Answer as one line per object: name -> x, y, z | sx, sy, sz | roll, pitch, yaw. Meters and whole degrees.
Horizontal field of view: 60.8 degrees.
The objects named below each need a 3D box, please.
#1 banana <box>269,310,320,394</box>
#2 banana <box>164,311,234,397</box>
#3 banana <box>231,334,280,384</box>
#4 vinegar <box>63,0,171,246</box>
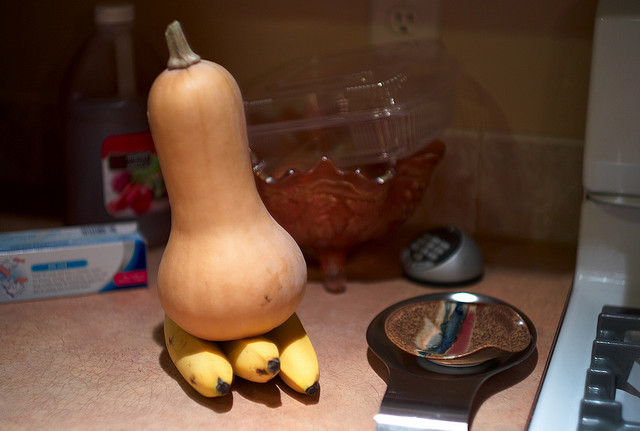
banana -> -0.031, 0.153, 0.660 | 0.033, 0.039, 0.108 | -13, 44, -5
banana -> -0.147, 0.153, 0.663 | 0.045, 0.049, 0.141 | -16, 37, -21
banana -> -0.072, 0.164, 0.617 | 0.042, 0.042, 0.055 | -17, 24, -28
vinegar -> -0.344, -0.142, 0.896 | 0.175, 0.380, 0.123 | -3, 20, 7
